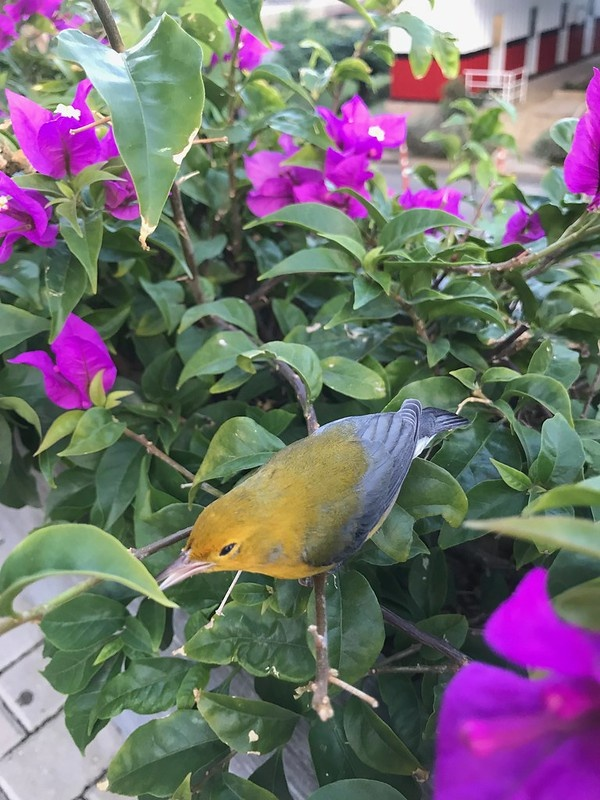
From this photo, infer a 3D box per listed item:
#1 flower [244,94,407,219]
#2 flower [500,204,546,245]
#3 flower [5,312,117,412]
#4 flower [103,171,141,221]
[{"bbox_3d":[0.073,-0.278,0.910,0.192,0.158,0.086,-13,-2,-45],"label":"flower"},{"bbox_3d":[0.272,-0.207,0.925,0.047,0.049,0.097,0,28,10],"label":"flower"},{"bbox_3d":[-0.226,-0.032,0.741,0.082,0.096,0.073,-10,30,-7],"label":"flower"},{"bbox_3d":[-0.177,-0.197,0.746,0.031,0.039,0.019,-11,31,-8],"label":"flower"}]
